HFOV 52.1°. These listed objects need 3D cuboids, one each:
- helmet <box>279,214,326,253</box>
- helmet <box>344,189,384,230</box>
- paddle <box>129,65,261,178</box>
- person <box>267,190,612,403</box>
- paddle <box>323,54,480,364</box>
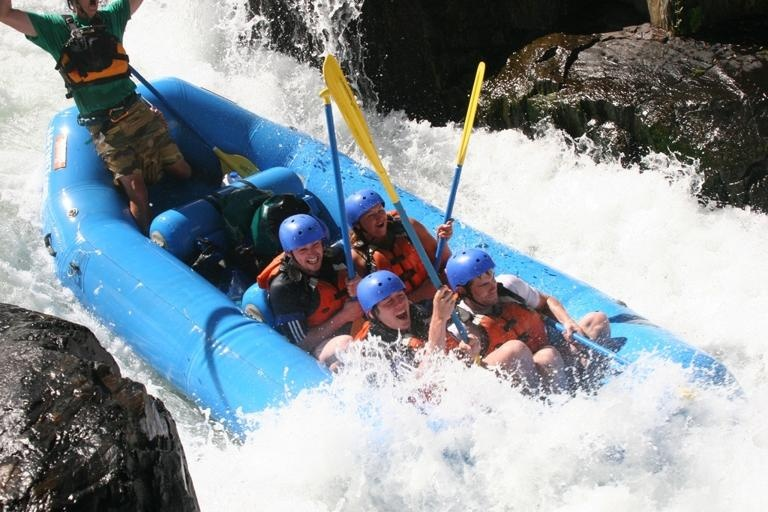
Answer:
[{"bbox_3d":[-0.617,-0.196,6.111,0.241,0.269,0.332,-19,-9,-37],"label":"helmet"},{"bbox_3d":[-0.155,-0.401,6.426,0.302,0.248,0.245,-14,15,42],"label":"helmet"},{"bbox_3d":[-1.894,-1.325,7.972,0.169,1.193,1.185,-46,69,1],"label":"paddle"},{"bbox_3d":[0.338,0.334,6.104,2.451,0.536,1.409,29,46,5],"label":"person"},{"bbox_3d":[0.198,-0.419,7.000,0.255,3.494,0.384,-16,20,32],"label":"paddle"}]
